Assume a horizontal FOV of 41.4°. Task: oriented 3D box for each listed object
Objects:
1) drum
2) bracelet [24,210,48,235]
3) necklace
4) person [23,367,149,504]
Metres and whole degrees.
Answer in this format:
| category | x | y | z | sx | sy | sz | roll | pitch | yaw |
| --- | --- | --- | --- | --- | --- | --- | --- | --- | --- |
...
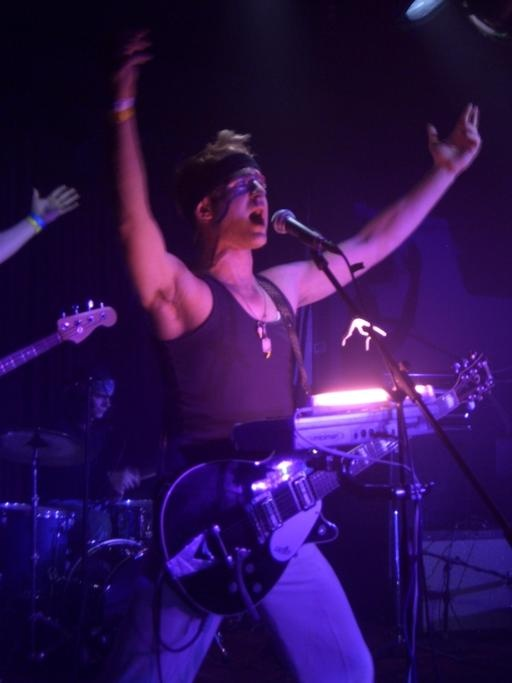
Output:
| category | x | y | z | sx | sy | sz | roll | pitch | yaw |
| --- | --- | --- | --- | --- | --- | --- | --- | --- | --- |
| drum | -1.315 | 1.514 | 4.844 | 0.870 | 0.360 | 0.694 | -1 | 39 | -5 |
| bracelet | -1.499 | -0.808 | 4.675 | 0.098 | 0.137 | 0.250 | -10 | -1 | 10 |
| necklace | -0.021 | -0.177 | 2.846 | 0.114 | 0.489 | 0.065 | -4 | -23 | -32 |
| person | -1.296 | 0.895 | 5.195 | 0.794 | 1.495 | 0.316 | 24 | -31 | -39 |
